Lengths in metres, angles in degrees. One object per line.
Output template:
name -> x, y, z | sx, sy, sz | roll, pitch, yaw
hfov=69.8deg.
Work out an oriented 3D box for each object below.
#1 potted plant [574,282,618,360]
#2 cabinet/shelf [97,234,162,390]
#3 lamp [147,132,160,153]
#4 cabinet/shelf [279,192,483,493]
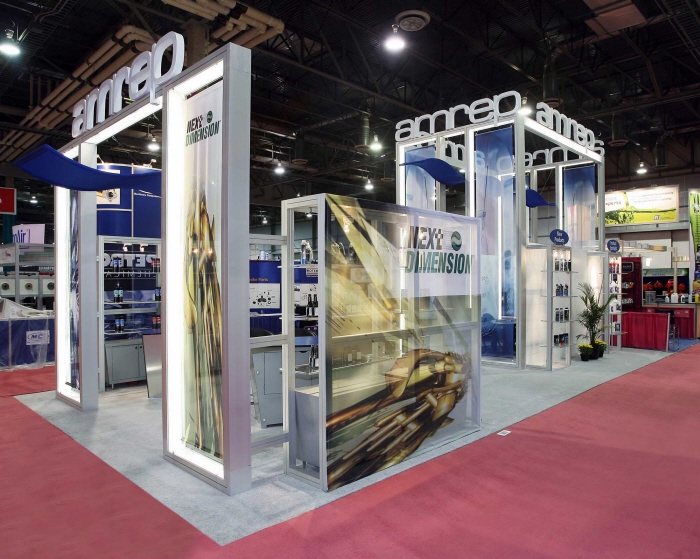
potted plant -> 4.882, 0.815, 9.918 | 0.596, 1.437, 1.422 | 1, 3, 29
cabinet/shelf -> -3.624, 0.508, 8.334 | 1.050, 2.455, 0.575 | -3, 7, -25
lamp -> -5.273, -3.611, 13.348 | 0.163, 0.654, 0.661 | 6, 9, -2
cabinet/shelf -> 0.340, 0.675, 4.720 | 0.737, 2.744, 2.553 | 0, 0, 43
